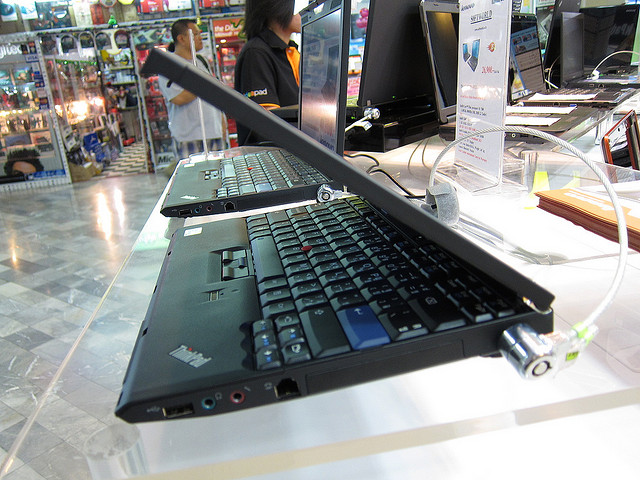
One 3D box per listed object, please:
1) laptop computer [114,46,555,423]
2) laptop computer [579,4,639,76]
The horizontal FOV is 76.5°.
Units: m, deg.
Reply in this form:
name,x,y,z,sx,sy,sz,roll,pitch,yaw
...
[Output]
name,x,y,z,sx,sy,sz,roll,pitch,yaw
laptop computer,-0.039,-0.103,0.700,0.514,0.373,0.638,-8,20,-9
laptop computer,2.212,-1.524,3.100,0.492,0.455,0.363,17,69,36
